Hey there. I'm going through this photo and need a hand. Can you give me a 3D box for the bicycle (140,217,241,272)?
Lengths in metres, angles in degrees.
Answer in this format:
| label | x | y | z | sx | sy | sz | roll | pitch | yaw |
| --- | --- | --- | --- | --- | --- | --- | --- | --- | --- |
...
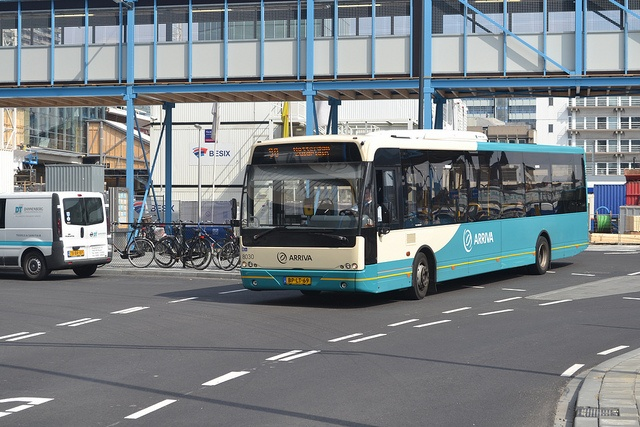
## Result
| label | x | y | z | sx | sy | sz | roll | pitch | yaw |
| --- | --- | --- | --- | --- | --- | --- | --- | --- | --- |
| bicycle | -3.902 | 1.090 | 26.068 | 3.168 | 1.639 | 1.310 | -2 | -3 | 21 |
